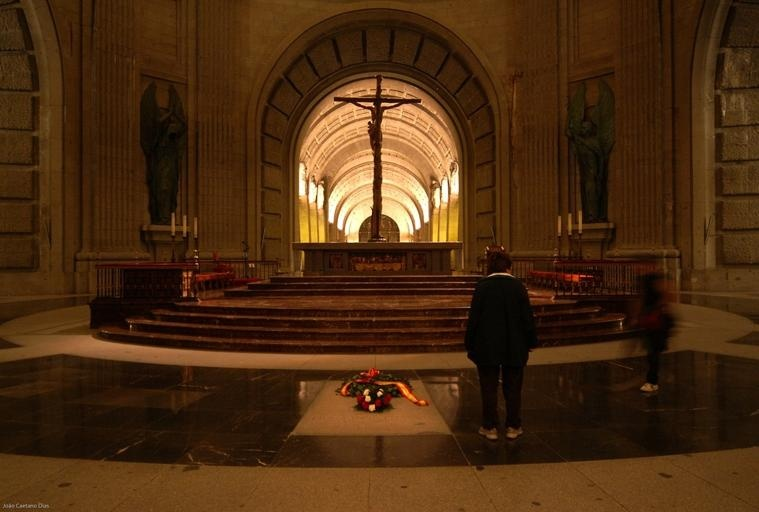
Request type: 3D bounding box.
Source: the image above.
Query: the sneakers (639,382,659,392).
[{"bbox_3d":[4.589,2.236,10.550,0.286,0.098,0.136,6,-12,-31],"label":"sneakers"}]

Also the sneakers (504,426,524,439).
[{"bbox_3d":[2.055,2.624,9.315,0.328,0.161,0.155,-5,14,-19],"label":"sneakers"}]

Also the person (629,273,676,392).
[{"bbox_3d":[4.775,1.283,10.702,0.590,1.972,0.946,4,14,21],"label":"person"}]

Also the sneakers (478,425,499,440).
[{"bbox_3d":[1.641,2.640,9.279,0.130,0.128,0.295,0,2,-8],"label":"sneakers"}]

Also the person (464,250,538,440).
[{"bbox_3d":[1.807,1.317,9.375,0.920,2.690,0.981,10,17,39],"label":"person"}]

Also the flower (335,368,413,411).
[{"bbox_3d":[-0.017,2.187,10.305,0.800,0.385,0.790,-1,-2,35],"label":"flower"}]
